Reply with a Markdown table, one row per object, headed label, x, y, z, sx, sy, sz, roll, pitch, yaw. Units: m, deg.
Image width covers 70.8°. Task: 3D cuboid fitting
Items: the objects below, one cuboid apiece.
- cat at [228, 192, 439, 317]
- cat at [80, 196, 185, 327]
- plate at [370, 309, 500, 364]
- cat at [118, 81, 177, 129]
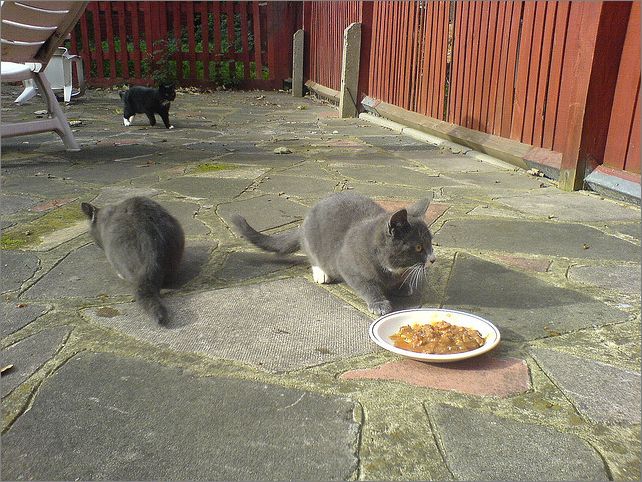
| label | x | y | z | sx | sy | sz | roll | pitch | yaw |
| --- | --- | --- | --- | --- | --- | --- | --- | --- | --- |
| cat | 0.087 | -0.031 | 2.708 | 0.498 | 0.497 | 1.448 | -14 | 20 | -40 |
| cat | -0.939 | 0.038 | 2.347 | 0.347 | 0.356 | 0.940 | -14 | 33 | -29 |
| plate | 0.466 | 0.395 | 1.913 | 0.526 | 0.090 | 0.409 | 0 | 20 | 3 |
| cat | -2.954 | -2.330 | 7.779 | 1.115 | 0.696 | 0.401 | 7 | 27 | 20 |
